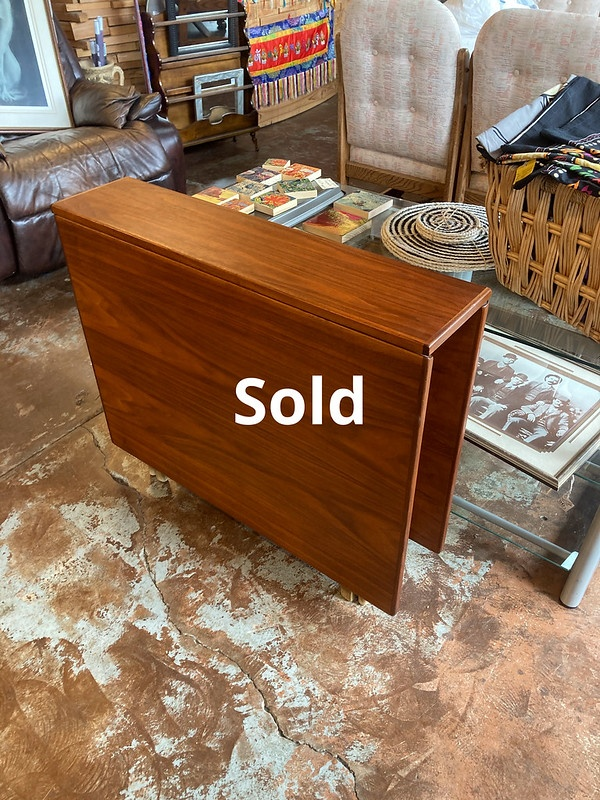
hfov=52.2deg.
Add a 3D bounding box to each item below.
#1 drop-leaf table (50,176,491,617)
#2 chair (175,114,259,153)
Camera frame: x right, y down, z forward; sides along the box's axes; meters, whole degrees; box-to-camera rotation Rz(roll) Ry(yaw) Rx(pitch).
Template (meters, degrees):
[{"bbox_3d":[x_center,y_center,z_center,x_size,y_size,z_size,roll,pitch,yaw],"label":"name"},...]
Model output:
[{"bbox_3d":[-0.056,0.035,1.127,0.855,0.735,0.252,30,53,26],"label":"drop-leaf table"},{"bbox_3d":[-0.495,-1.659,3.770,0.526,0.174,0.116,-19,36,-23],"label":"chair"}]
